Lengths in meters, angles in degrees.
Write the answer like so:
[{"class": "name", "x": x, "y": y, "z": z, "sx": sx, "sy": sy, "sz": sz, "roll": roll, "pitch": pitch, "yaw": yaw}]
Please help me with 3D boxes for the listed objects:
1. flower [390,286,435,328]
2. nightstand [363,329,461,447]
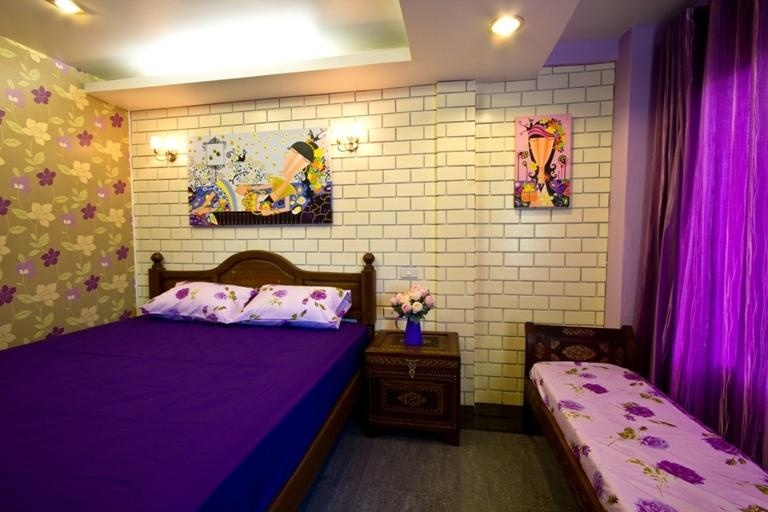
[{"class": "flower", "x": 0.259, "y": 0.451, "z": 4.398, "sx": 0.323, "sy": 0.303, "sz": 0.305, "roll": 22, "pitch": 27, "yaw": 39}, {"class": "nightstand", "x": 0.251, "y": 1.118, "z": 4.519, "sx": 0.821, "sy": 0.712, "sz": 0.819, "roll": 0, "pitch": 5, "yaw": 7}]
